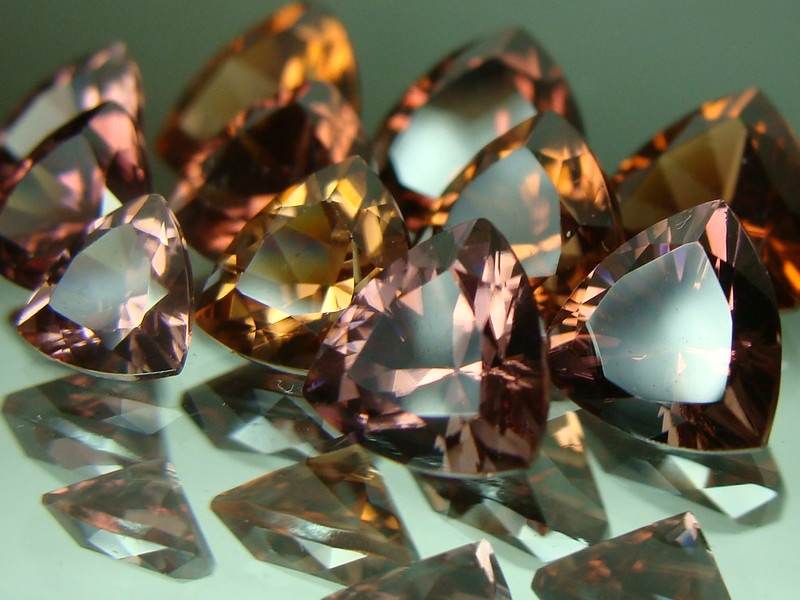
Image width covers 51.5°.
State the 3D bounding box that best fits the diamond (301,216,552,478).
[{"bbox_3d":[0.015,0.033,0.433,0.126,0.136,0.037,-14,-41,3],"label":"diamond"}]

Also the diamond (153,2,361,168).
[{"bbox_3d":[-0.088,-0.136,0.607,0.132,0.112,0.047,-41,-47,12],"label":"diamond"}]

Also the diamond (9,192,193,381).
[{"bbox_3d":[-0.158,-0.004,0.482,0.102,0.092,0.042,-33,-17,15],"label":"diamond"}]

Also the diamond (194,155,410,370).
[{"bbox_3d":[-0.051,-0.011,0.541,0.136,0.096,0.041,-44,-21,-3],"label":"diamond"}]
